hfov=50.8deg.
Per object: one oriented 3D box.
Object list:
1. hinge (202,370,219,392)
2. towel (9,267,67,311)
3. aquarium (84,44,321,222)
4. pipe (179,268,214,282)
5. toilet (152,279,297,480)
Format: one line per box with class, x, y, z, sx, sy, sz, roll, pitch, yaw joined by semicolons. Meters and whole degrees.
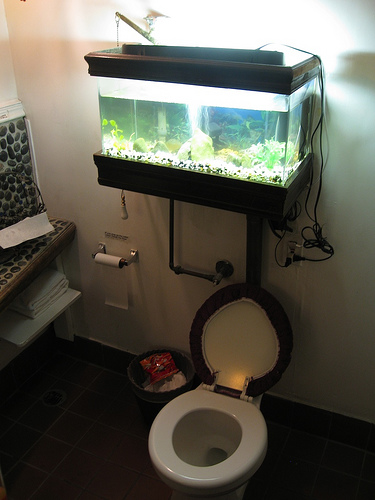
hinge;0.098;0.560;1.671;0.022;0.071;0.051;8;1;-13
towel;-0.771;0.200;2.073;0.180;0.052;0.191;12;40;26
aquarium;0.052;-0.450;1.325;0.645;0.473;0.385;13;35;19
pipe;0.048;0.113;1.819;0.028;0.031;0.166;12;6;-44
toilet;0.136;0.554;1.539;0.445;0.648;0.685;6;26;24
